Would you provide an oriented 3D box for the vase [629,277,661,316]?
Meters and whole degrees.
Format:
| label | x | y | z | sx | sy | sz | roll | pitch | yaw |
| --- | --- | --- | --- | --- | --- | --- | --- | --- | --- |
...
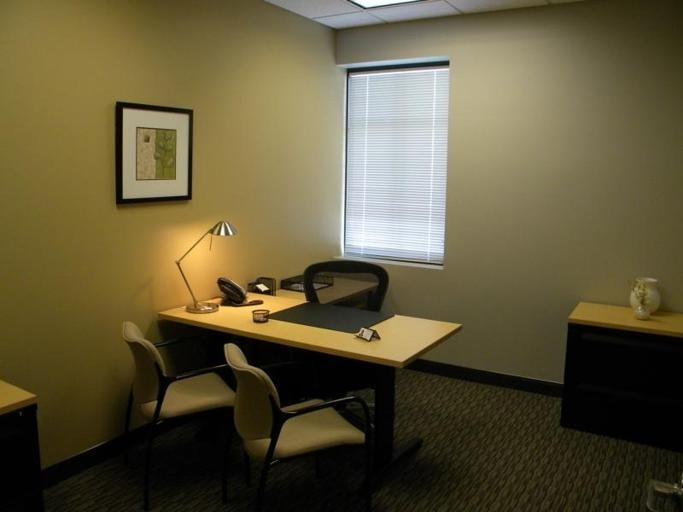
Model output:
| label | x | y | z | sx | sy | sz | roll | pitch | yaw |
| --- | --- | --- | --- | --- | --- | --- | --- | --- | --- |
| vase | 2.350 | 0.320 | 4.044 | 0.256 | 0.323 | 0.214 | 5 | 17 | 27 |

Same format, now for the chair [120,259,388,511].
| label | x | y | z | sx | sy | sz | roll | pitch | yaw |
| --- | --- | --- | --- | --- | --- | --- | --- | --- | --- |
| chair | -0.589 | 0.796 | 3.797 | 1.184 | 1.581 | 1.786 | 6 | 13 | 31 |

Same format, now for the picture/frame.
| label | x | y | z | sx | sy | sz | roll | pitch | yaw |
| --- | --- | --- | --- | --- | --- | --- | --- | --- | --- |
| picture/frame | -1.356 | -0.745 | 3.653 | 0.031 | 0.783 | 0.622 | 12 | 18 | 36 |
